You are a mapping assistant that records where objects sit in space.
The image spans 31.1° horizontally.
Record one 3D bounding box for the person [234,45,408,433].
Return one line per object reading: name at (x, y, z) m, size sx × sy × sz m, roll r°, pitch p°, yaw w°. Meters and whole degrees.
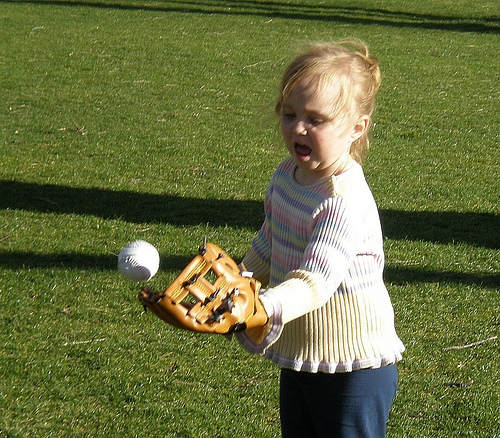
person at (0.520, 0.214, 5.847) m, size 1.115 × 2.248 × 1.221 m, roll 10°, pitch 29°, yaw 0°
